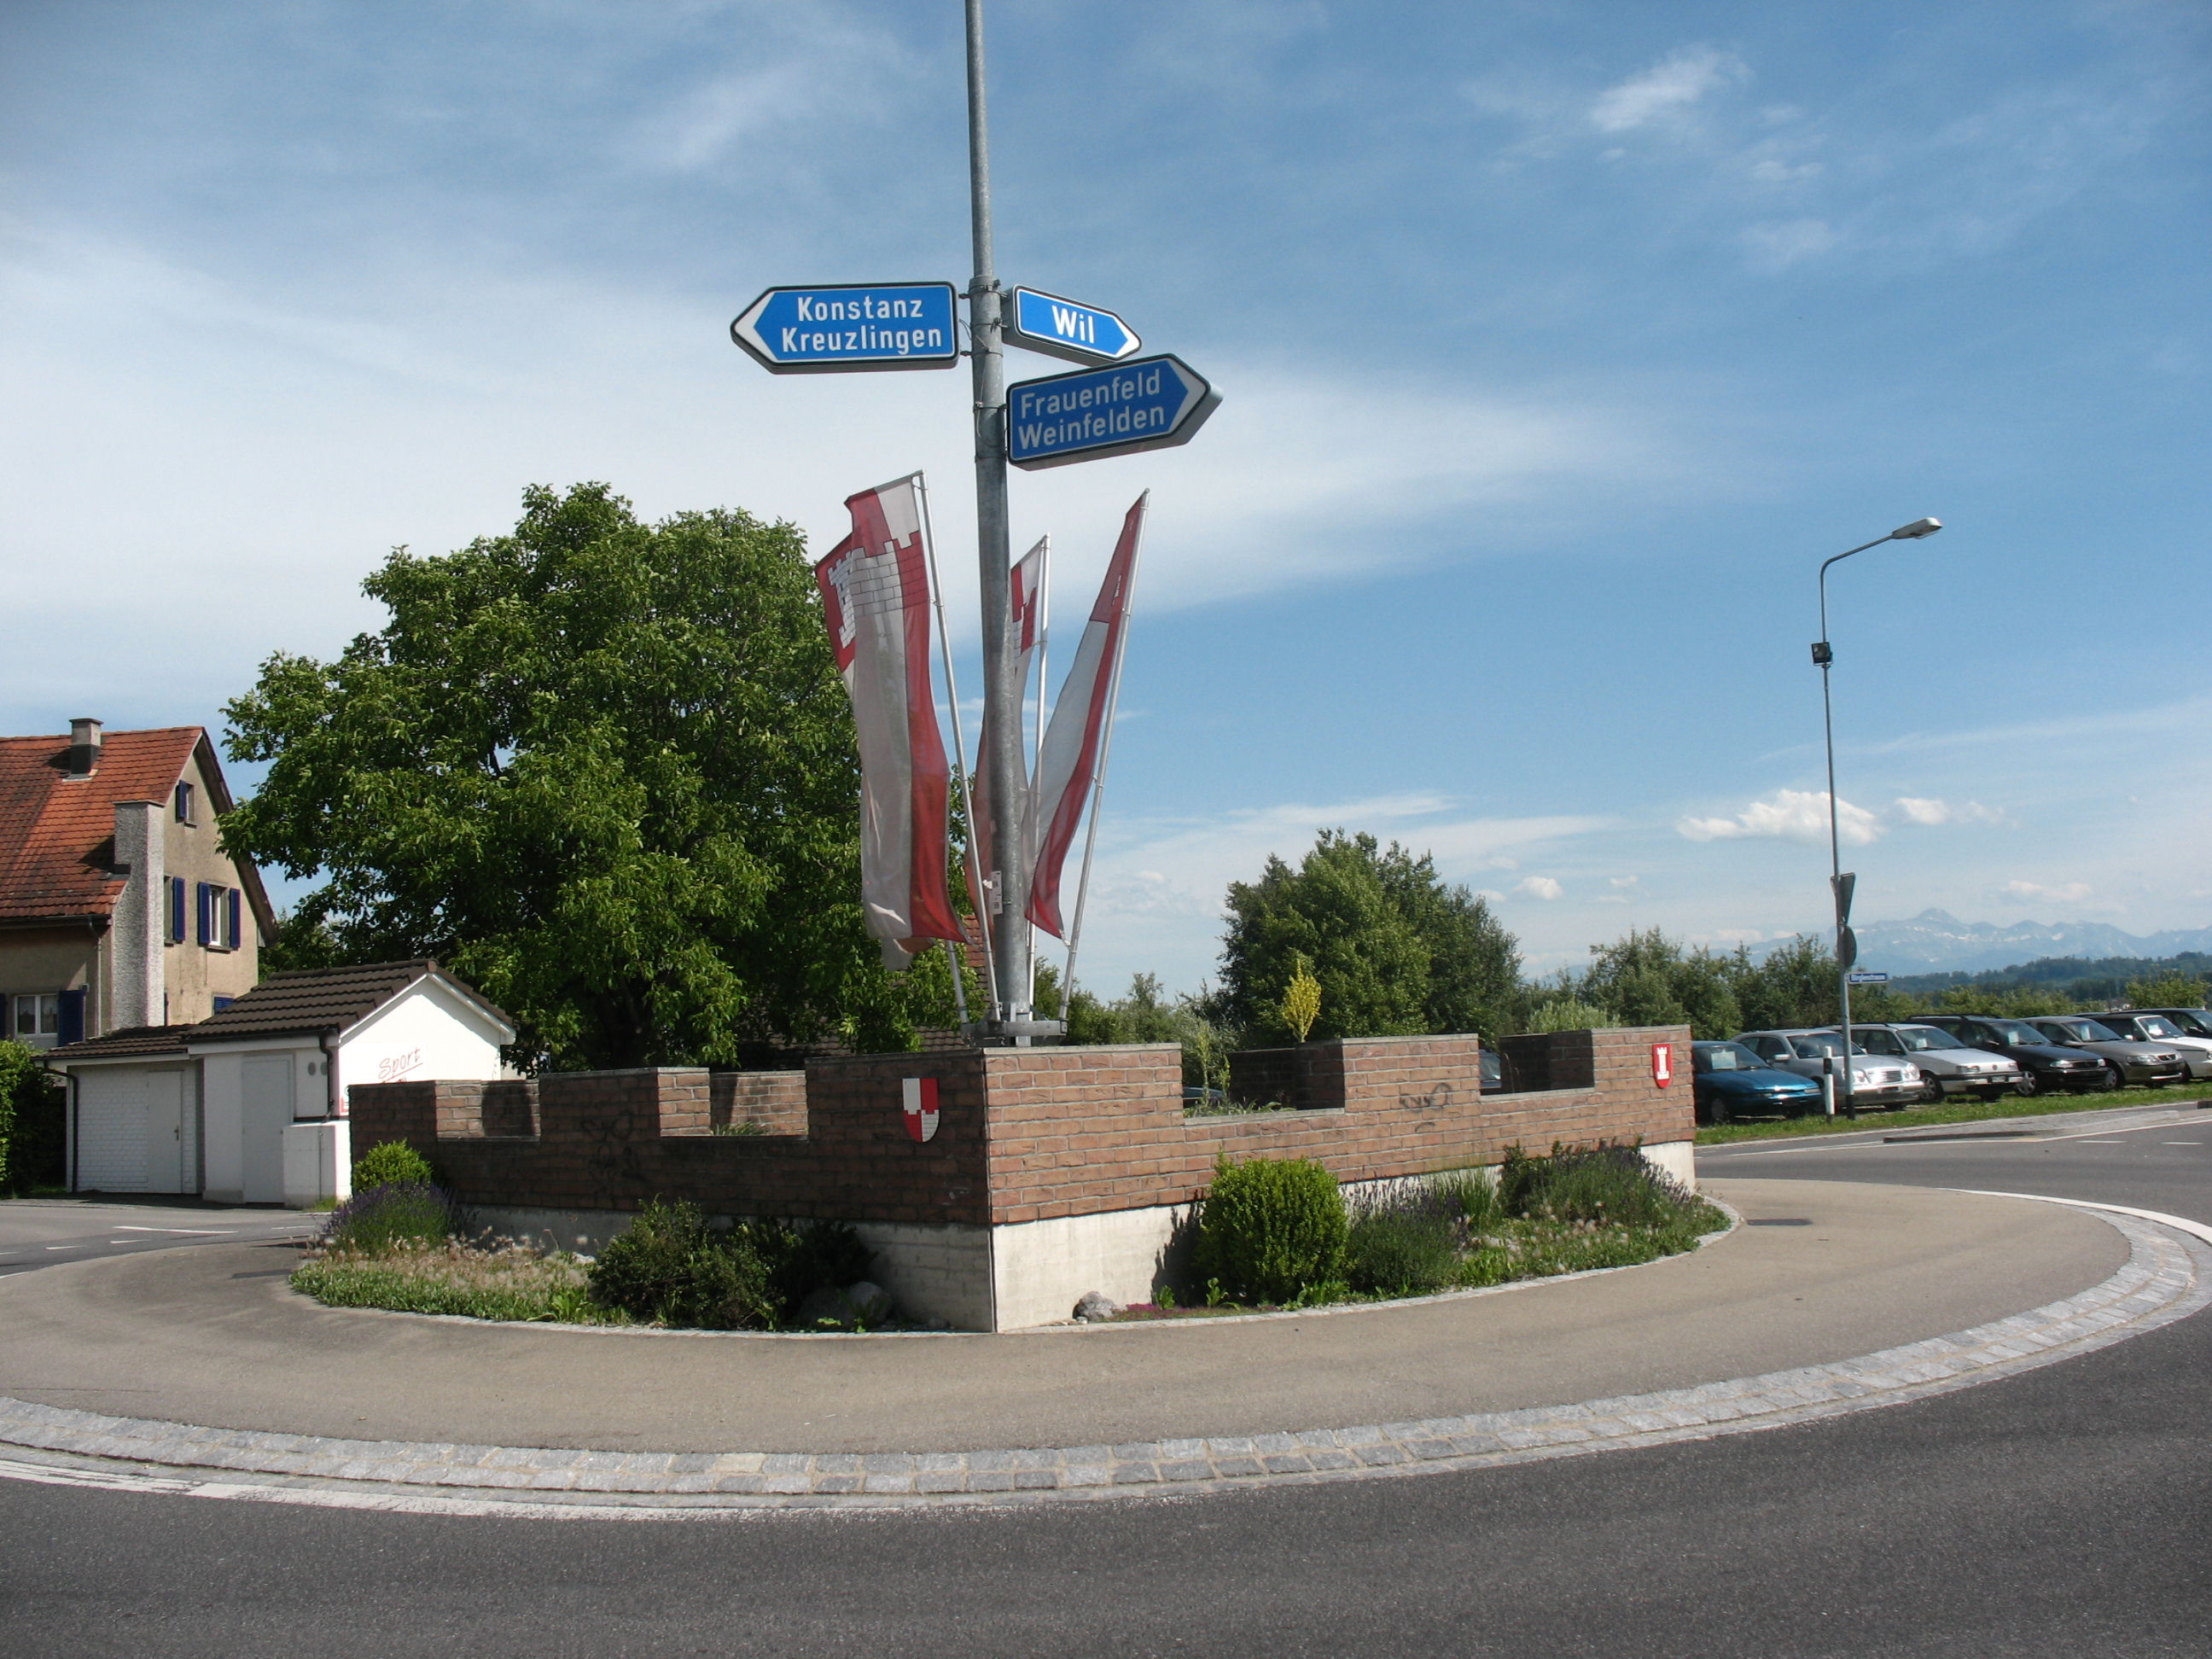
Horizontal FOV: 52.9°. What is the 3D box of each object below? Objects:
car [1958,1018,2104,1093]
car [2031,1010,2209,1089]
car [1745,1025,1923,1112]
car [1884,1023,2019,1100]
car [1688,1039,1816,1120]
[{"bbox_3d":[18.216,4.482,44.226,1.174,0.945,2.565,1,-5,-37],"label":"car"},{"bbox_3d":[20.338,4.560,45.398,1.243,0.949,2.697,2,-6,-38],"label":"car"},{"bbox_3d":[13.163,4.387,40.954,1.260,0.975,2.821,0,-5,-25],"label":"car"},{"bbox_3d":[15.943,4.460,42.562,1.212,0.982,2.806,0,-5,-14],"label":"car"},{"bbox_3d":[11.148,4.465,39.193,1.049,0.900,2.511,2,-8,-25],"label":"car"}]
